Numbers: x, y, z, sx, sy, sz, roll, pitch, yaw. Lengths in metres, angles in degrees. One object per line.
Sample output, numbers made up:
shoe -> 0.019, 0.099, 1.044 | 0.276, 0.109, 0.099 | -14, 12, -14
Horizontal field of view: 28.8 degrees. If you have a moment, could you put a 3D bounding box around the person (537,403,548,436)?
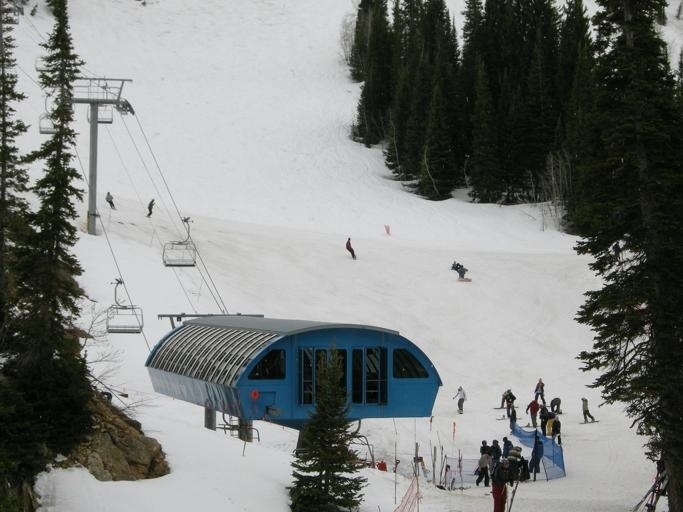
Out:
person -> 11.265, 9.188, 74.064 | 0.642, 2.002, 1.128 | 0, -11, 25

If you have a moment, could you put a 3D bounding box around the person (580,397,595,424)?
person -> 14.347, 8.885, 76.648 | 0.741, 1.366, 3.341 | 1, -5, 11

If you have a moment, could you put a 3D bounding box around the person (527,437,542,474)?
person -> 9.996, 10.263, 67.982 | 0.578, 2.248, 1.445 | 1, -4, 18
